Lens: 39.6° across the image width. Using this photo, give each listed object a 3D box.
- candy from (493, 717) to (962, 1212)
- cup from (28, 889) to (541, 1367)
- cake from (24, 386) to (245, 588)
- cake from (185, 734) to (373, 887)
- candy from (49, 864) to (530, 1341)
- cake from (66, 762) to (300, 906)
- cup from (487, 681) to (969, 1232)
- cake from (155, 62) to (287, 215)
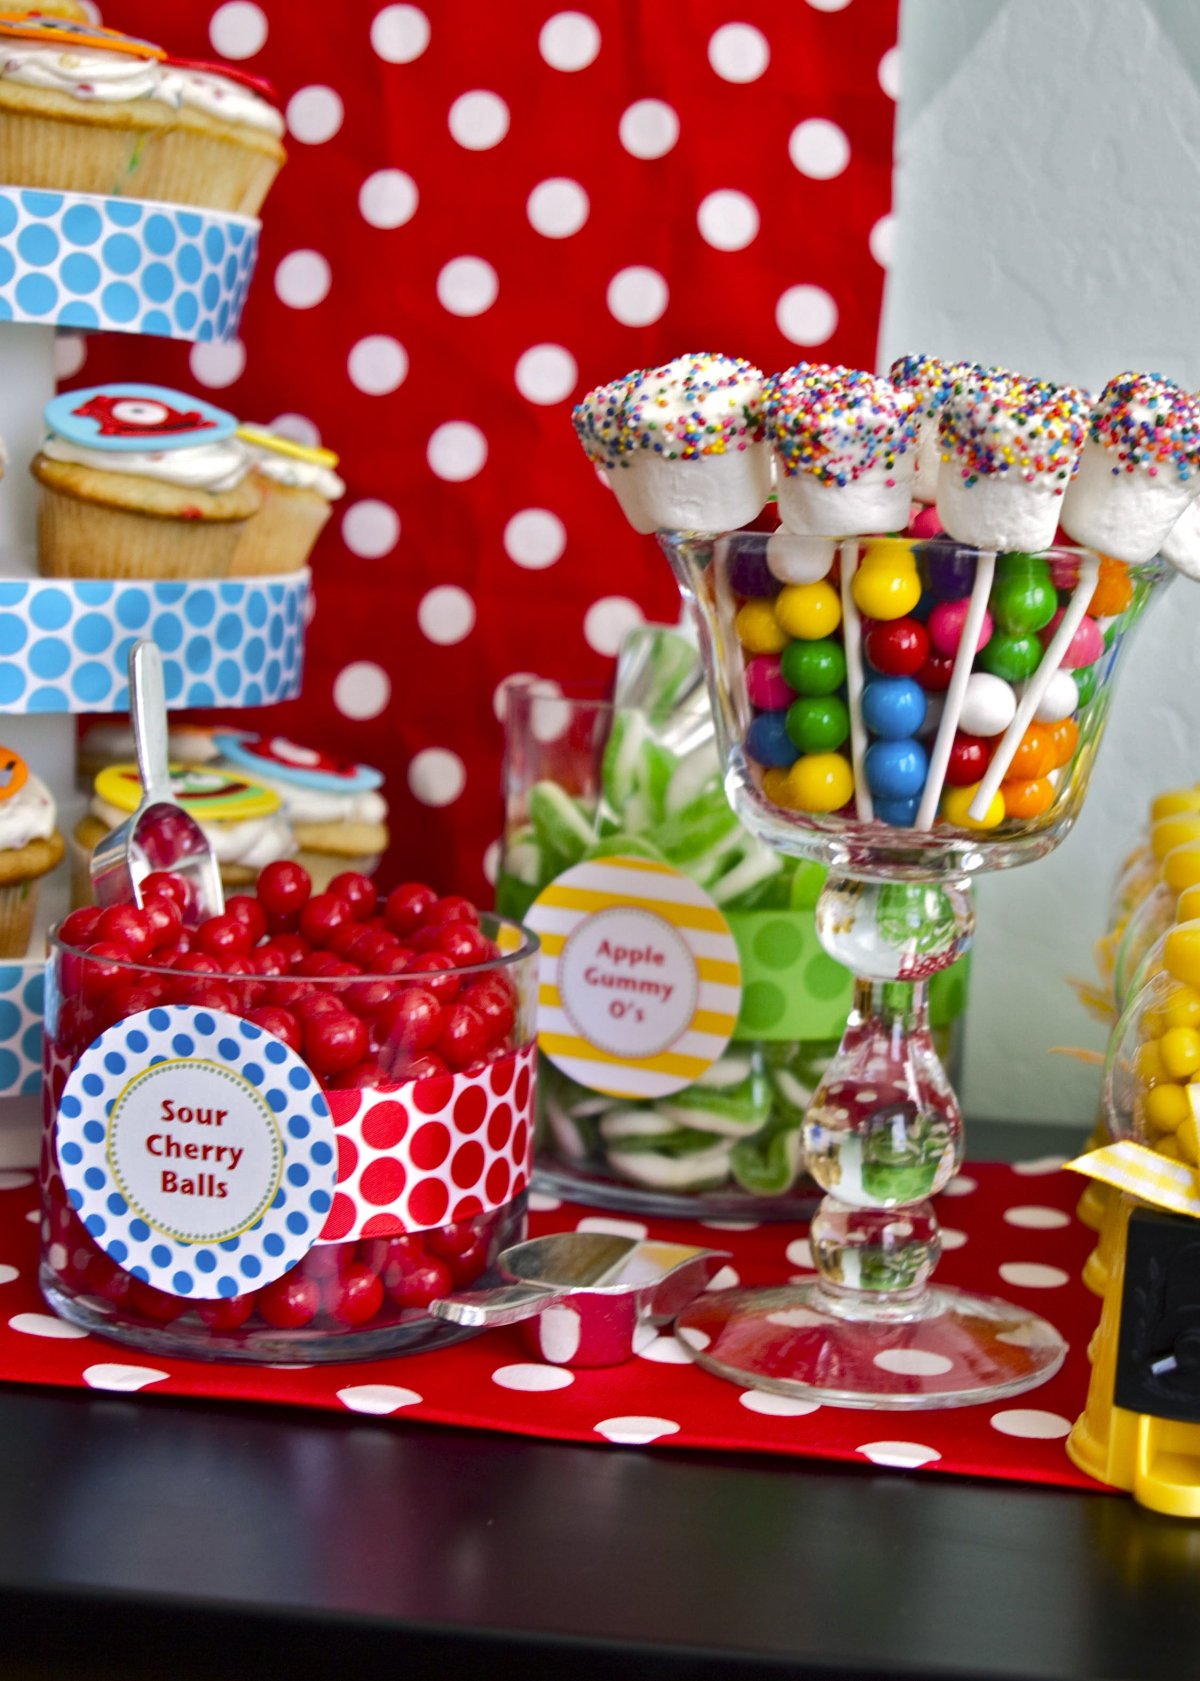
[{"bbox_3d":[0.037,0.046,0.892,0.259,0.225,0.246,1,5,0],"label":"candy"},{"bbox_3d":[-0.105,0.104,0.648,0.187,0.125,0.181,2,-2,0],"label":"cup"},{"bbox_3d":[-0.213,-0.168,0.824,0.115,0.080,0.110,-4,13,-37],"label":"cake"},{"bbox_3d":[-0.182,-0.012,0.953,0.101,0.047,0.090,12,-3,7],"label":"cake"},{"bbox_3d":[-0.097,0.095,0.655,0.185,0.124,0.179,3,-2,3],"label":"candy"},{"bbox_3d":[-0.200,-0.002,0.791,0.083,0.025,0.078,1,12,-6],"label":"cake"},{"bbox_3d":[0.025,0.065,0.891,0.269,0.234,0.258,1,4,0],"label":"cup"},{"bbox_3d":[-0.178,-0.337,0.803,0.071,0.050,0.063,3,14,4],"label":"cake"}]
